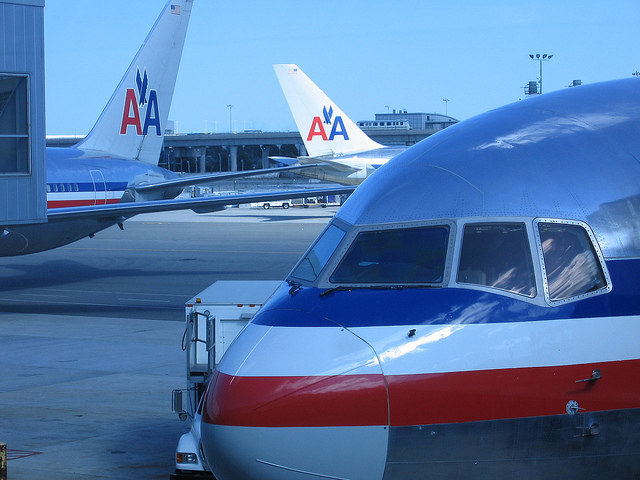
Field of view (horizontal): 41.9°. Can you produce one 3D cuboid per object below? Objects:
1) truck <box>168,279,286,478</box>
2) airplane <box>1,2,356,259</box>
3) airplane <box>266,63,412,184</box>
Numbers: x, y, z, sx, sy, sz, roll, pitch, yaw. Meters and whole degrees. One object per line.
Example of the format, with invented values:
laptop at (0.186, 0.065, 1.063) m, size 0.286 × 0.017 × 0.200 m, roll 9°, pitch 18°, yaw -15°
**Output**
truck at (-1.838, 1.848, 13.408) m, size 1.741 × 2.021 × 3.568 m, roll 0°, pitch 4°, yaw 6°
airplane at (-6.311, -3.782, 33.932) m, size 15.490 × 5.349 × 13.991 m, roll 2°, pitch 7°, yaw 18°
airplane at (1.083, -9.766, 75.451) m, size 14.979 × 5.737 × 13.939 m, roll 4°, pitch 12°, yaw 13°
